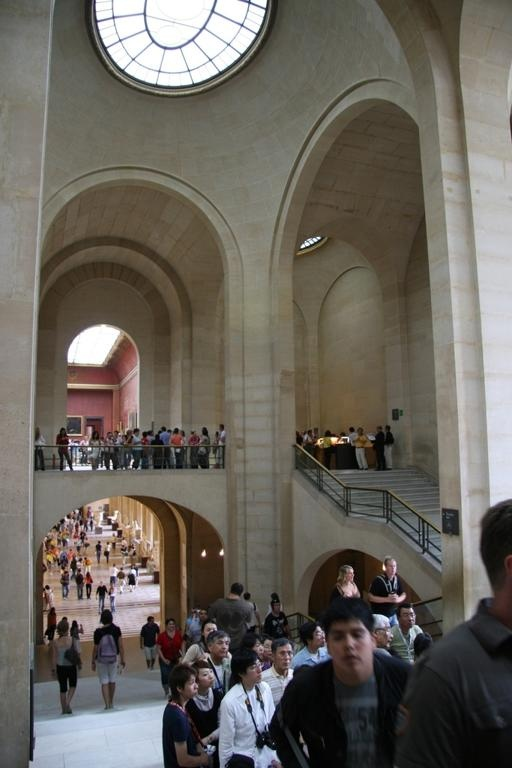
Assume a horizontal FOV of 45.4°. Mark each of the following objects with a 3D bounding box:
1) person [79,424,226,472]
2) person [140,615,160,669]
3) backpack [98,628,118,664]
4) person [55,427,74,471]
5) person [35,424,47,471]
[{"bbox_3d":[-2.591,1.753,15.558,3.639,0.920,0.337,-1,-9,-15],"label":"person"},{"bbox_3d":[-1.979,4.915,11.727,0.451,1.079,0.325,0,4,-16],"label":"person"},{"bbox_3d":[-2.136,3.787,8.817,0.288,0.423,0.235,1,-9,-21],"label":"backpack"},{"bbox_3d":[-4.926,1.704,15.782,0.387,1.098,2.144,0,-10,-17],"label":"person"},{"bbox_3d":[-5.300,1.583,14.981,0.233,1.053,0.958,1,-10,-19],"label":"person"}]
